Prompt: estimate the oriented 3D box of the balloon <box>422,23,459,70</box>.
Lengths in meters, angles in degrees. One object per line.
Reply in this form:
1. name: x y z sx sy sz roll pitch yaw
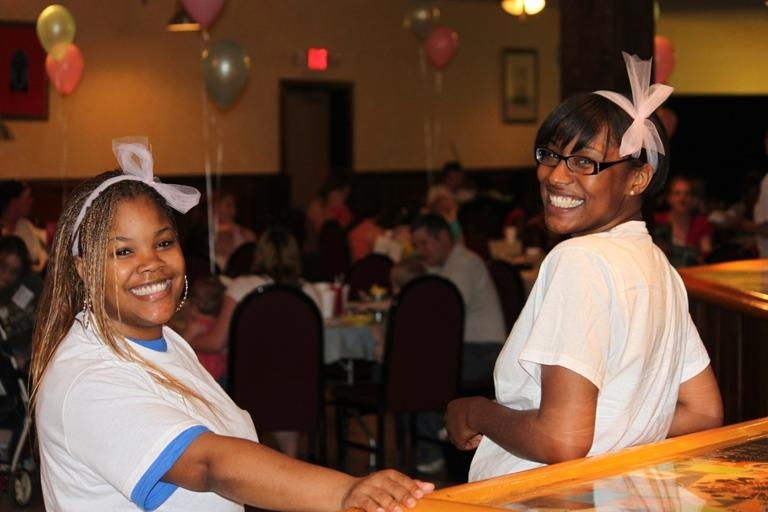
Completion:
1. balloon: 0.320 -1.125 4.280 0.188 0.232 0.185 15 23 33
